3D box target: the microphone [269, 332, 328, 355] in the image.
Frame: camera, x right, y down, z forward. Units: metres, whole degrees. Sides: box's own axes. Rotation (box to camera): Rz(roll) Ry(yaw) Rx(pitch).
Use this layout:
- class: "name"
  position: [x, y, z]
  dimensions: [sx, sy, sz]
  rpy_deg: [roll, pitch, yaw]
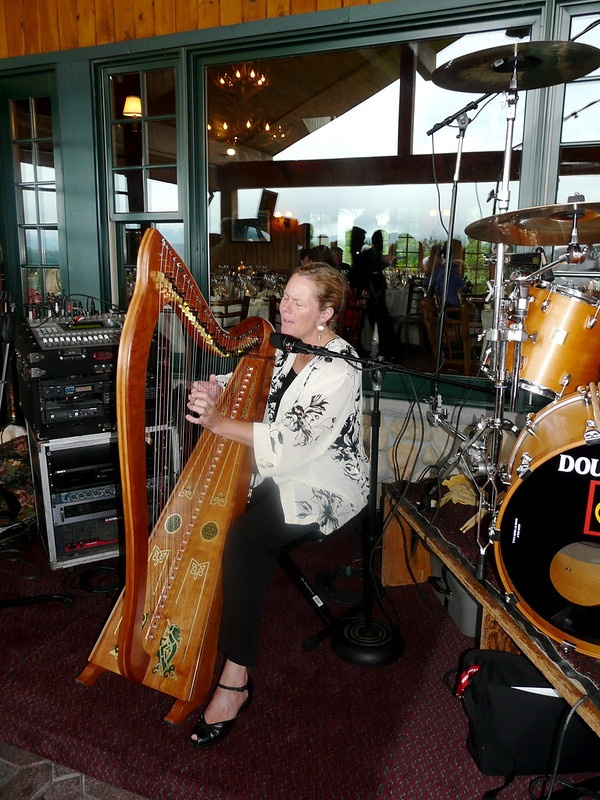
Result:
- class: "microphone"
  position: [-0.006, -0.161, 1.568]
  dimensions: [0.216, 0.056, 0.056]
  rpy_deg: [13, -4, 44]

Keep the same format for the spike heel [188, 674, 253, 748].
- class: "spike heel"
  position: [-0.201, 0.831, 1.579]
  dimensions: [0.076, 0.081, 0.210]
  rpy_deg: [-16, -13, 23]

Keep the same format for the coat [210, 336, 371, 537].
- class: "coat"
  position: [-0.001, 0.092, 1.832]
  dimensions: [0.473, 0.507, 0.423]
  rpy_deg: [-6, 20, -20]

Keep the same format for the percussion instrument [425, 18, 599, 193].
- class: "percussion instrument"
  position: [0.705, -0.922, 2.046]
  dimensions: [0.565, 0.428, 0.466]
  rpy_deg: [8, 13, 33]
